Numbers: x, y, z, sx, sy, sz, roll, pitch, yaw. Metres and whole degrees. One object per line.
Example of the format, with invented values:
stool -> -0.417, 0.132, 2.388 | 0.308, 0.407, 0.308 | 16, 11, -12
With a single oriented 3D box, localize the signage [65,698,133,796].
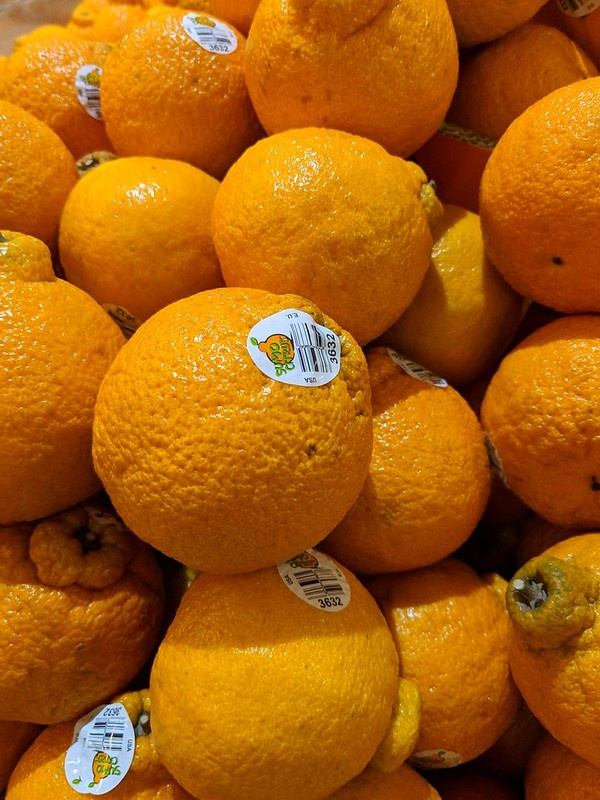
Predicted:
signage -> -0.203, 0.363, 0.777 | 0.063, 0.017, 0.072 | -1, 56, 33

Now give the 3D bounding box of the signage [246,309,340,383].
signage -> -0.004, -0.042, 0.637 | 0.077, 0.043, 0.080 | -4, 58, 1

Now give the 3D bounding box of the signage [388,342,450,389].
signage -> 0.138, -0.034, 0.884 | 0.066, 0.047, 0.016 | 38, 97, 11
